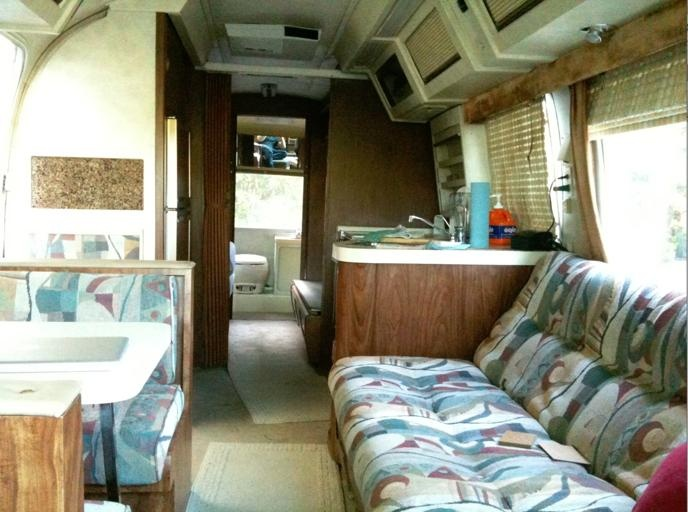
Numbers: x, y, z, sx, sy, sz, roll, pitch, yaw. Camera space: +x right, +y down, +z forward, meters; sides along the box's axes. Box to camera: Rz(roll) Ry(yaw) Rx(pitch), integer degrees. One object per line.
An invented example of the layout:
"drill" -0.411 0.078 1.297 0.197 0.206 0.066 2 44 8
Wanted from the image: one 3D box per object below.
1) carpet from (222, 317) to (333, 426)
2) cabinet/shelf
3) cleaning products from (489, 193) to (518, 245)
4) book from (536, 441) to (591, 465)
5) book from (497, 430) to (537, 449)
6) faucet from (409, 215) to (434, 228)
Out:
"carpet" -0.569 0.938 4.401 0.753 0.171 2.192 -1 10 -12
"cabinet/shelf" 0.799 -0.640 4.023 0.263 0.758 0.813 -3 8 -6
"cleaning products" 0.960 -0.209 3.286 0.186 0.298 0.185 -5 -3 0
"book" 0.783 0.709 1.934 0.149 0.032 0.153 0 10 -4
"book" 0.646 0.678 1.987 0.127 0.020 0.118 5 11 23
"faucet" 0.621 -0.283 4.360 0.206 0.048 0.076 16 -16 28
